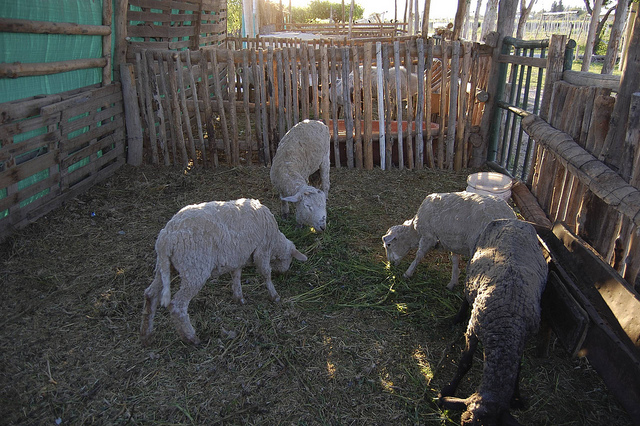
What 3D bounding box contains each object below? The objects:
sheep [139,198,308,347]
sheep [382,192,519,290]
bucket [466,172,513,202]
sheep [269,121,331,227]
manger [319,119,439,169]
[{"bbox_3d":[-1.030,0.577,4.619,0.565,1.479,2.183,7,13,35],"label":"sheep"},{"bbox_3d":[1.557,0.386,4.912,0.574,1.127,1.789,4,-3,-34],"label":"sheep"},{"bbox_3d":[2.814,-0.498,6.301,0.606,0.289,0.679,-19,27,-18],"label":"bucket"},{"bbox_3d":[-0.368,-0.711,6.235,0.617,1.266,2.414,-1,40,7],"label":"sheep"},{"bbox_3d":[1.389,-1.673,8.848,1.361,2.014,1.479,4,27,7],"label":"manger"}]
